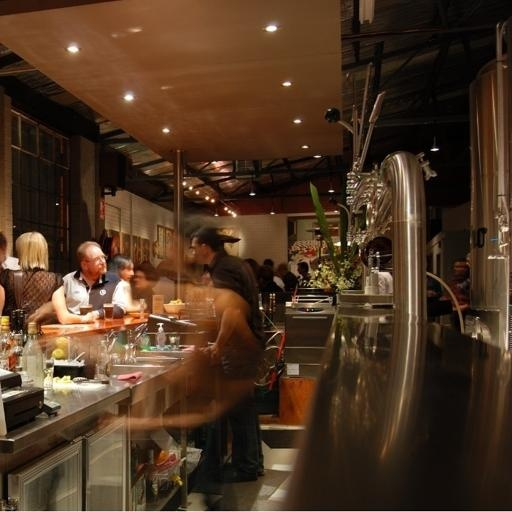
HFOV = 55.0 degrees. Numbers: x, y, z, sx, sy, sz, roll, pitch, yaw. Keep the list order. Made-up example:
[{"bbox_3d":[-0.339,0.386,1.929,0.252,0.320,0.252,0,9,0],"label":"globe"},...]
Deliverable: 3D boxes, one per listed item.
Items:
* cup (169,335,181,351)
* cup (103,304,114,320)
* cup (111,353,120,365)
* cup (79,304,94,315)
[{"bbox_3d":[-0.429,0.457,2.613,0.061,0.075,0.061,0,-10,0],"label":"cup"},{"bbox_3d":[-0.893,0.342,3.007,0.070,0.093,0.073,-3,-4,0],"label":"cup"},{"bbox_3d":[-0.631,0.471,2.242,0.038,0.049,0.041,1,-4,0],"label":"cup"},{"bbox_3d":[-1.026,0.334,2.998,0.065,0.079,0.066,1,-10,0],"label":"cup"}]
